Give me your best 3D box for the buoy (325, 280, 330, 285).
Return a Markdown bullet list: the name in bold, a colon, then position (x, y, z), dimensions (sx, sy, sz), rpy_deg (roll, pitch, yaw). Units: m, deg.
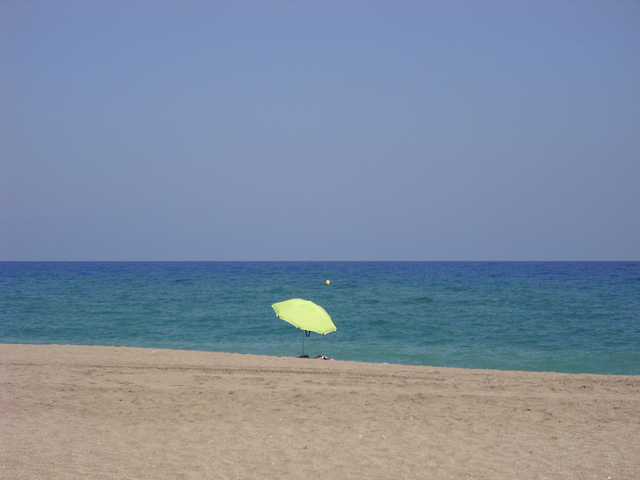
- **buoy**: position (0.583, 3.747, 75.174), dimensions (0.613, 0.318, 0.593), rpy_deg (1, 6, -3)
